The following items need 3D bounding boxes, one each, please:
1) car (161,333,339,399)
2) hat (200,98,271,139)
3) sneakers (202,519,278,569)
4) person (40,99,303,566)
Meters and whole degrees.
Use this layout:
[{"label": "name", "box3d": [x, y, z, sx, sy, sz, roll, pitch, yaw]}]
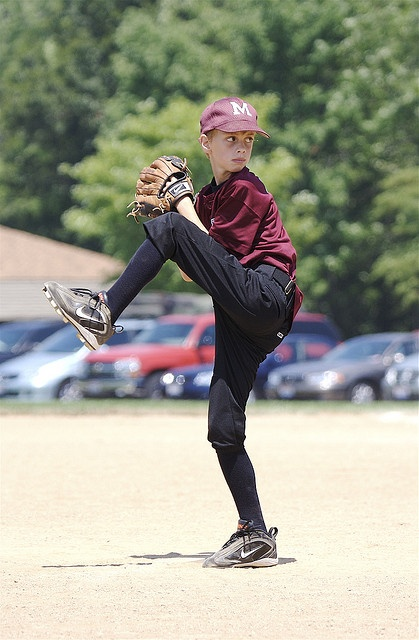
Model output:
[{"label": "car", "box3d": [0.834, 0.933, 18.852, 3.201, 1.081, 1.300, 0, -2, -7]}, {"label": "hat", "box3d": [0.121, -0.930, 4.278, 0.250, 0.145, 0.346, -10, 19, -33]}, {"label": "sneakers", "box3d": [0.132, 1.052, 4.380, 0.425, 0.163, 0.121, 4, -9, -27]}, {"label": "person", "box3d": [-0.040, 0.067, 4.257, 0.955, 2.185, 0.669, -8, -6, 4]}]
